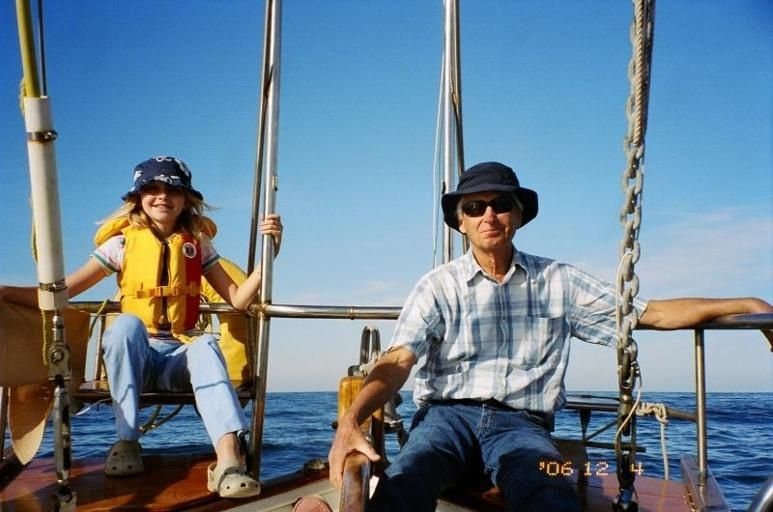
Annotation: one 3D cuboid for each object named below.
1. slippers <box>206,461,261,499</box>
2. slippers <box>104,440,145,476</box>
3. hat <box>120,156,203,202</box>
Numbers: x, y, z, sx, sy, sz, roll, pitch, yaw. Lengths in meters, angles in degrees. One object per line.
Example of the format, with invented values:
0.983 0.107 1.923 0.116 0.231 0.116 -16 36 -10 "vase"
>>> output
-1.145 1.676 5.814 0.261 0.286 0.465 1 -4 -33 "slippers"
-2.060 1.577 6.157 0.283 0.290 0.169 0 -4 -22 "slippers"
-1.833 -0.663 6.458 0.418 0.232 0.388 9 -13 -38 "hat"
